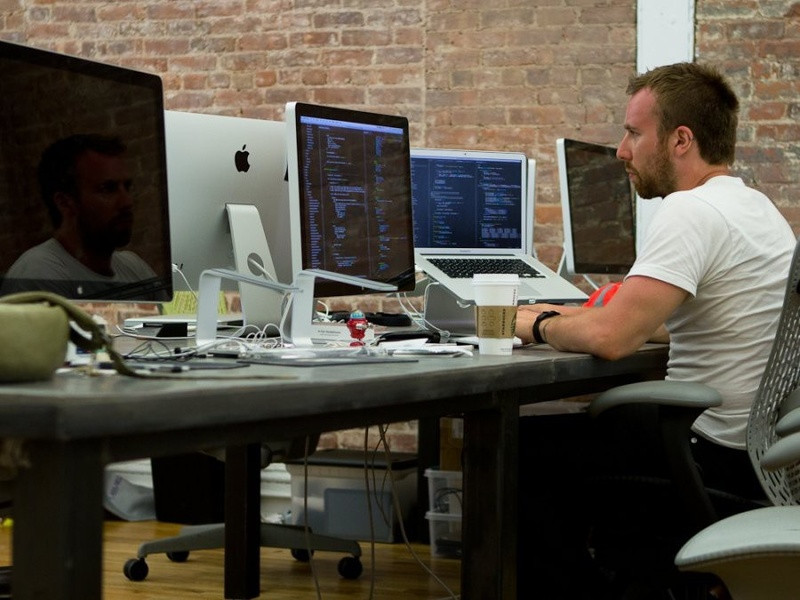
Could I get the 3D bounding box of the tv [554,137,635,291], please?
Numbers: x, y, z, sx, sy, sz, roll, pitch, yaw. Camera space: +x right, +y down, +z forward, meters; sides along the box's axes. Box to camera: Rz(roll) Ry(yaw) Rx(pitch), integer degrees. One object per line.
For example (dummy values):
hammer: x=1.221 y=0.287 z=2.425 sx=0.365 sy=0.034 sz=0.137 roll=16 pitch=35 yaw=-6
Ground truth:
tv: x=0.704 y=-0.287 z=3.034 sx=0.177 sy=0.570 sz=0.556 roll=-2 pitch=1 yaw=40

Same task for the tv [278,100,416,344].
tv: x=-0.132 y=-0.250 z=2.052 sx=0.112 sy=0.486 sz=0.509 roll=6 pitch=11 yaw=37

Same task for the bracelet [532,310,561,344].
bracelet: x=0.350 y=0.070 z=1.919 sx=0.064 sy=0.088 sz=0.106 roll=1 pitch=9 yaw=8

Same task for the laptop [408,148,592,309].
laptop: x=0.310 y=-0.277 z=2.599 sx=0.506 sy=0.460 sz=0.386 roll=-4 pitch=9 yaw=-33

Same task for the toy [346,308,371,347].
toy: x=-0.096 y=0.063 z=1.810 sx=0.060 sy=0.107 sz=0.062 roll=-2 pitch=-1 yaw=37

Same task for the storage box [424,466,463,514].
storage box: x=0.191 y=0.753 z=3.028 sx=0.136 sy=0.100 sz=0.122 roll=24 pitch=-10 yaw=-32

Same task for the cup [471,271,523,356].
cup: x=0.203 y=0.028 z=1.685 sx=0.112 sy=0.165 sz=0.110 roll=1 pitch=2 yaw=0

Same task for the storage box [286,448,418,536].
storage box: x=-0.177 y=0.778 z=3.142 sx=0.370 sy=0.246 sz=0.392 roll=0 pitch=-2 yaw=7
